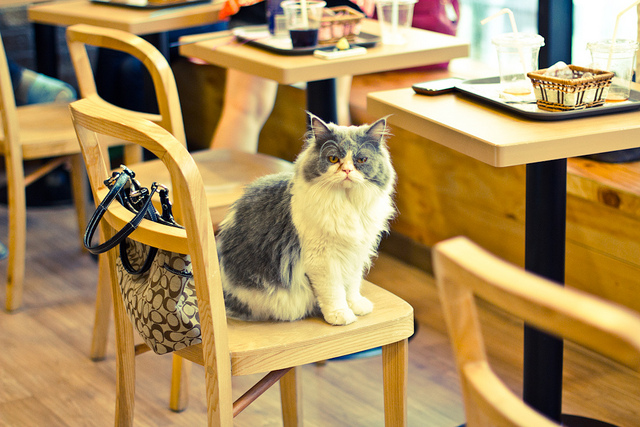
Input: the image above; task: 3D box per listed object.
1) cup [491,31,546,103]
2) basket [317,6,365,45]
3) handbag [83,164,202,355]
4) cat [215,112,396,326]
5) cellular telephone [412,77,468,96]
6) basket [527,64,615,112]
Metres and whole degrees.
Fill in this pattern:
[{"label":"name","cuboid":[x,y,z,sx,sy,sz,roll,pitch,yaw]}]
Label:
[{"label":"cup","cuboid":[0.479,-0.353,1.426,0.121,0.147,0.118,-3,12,1]},{"label":"basket","cuboid":[0.060,-0.587,1.823,0.106,0.067,0.148,-4,19,-14]},{"label":"handbag","cuboid":[-0.381,0.117,1.291,0.196,0.358,0.360,-14,18,-28]},{"label":"cat","cuboid":[-0.052,0.019,1.394,0.433,0.453,0.310,2,8,25]},{"label":"cellular telephone","cuboid":[0.317,-0.330,1.516,0.166,0.022,0.097,-13,28,-21]},{"label":"basket","cuboid":[0.534,-0.268,1.311,0.148,0.065,0.117,-9,23,-44]}]
